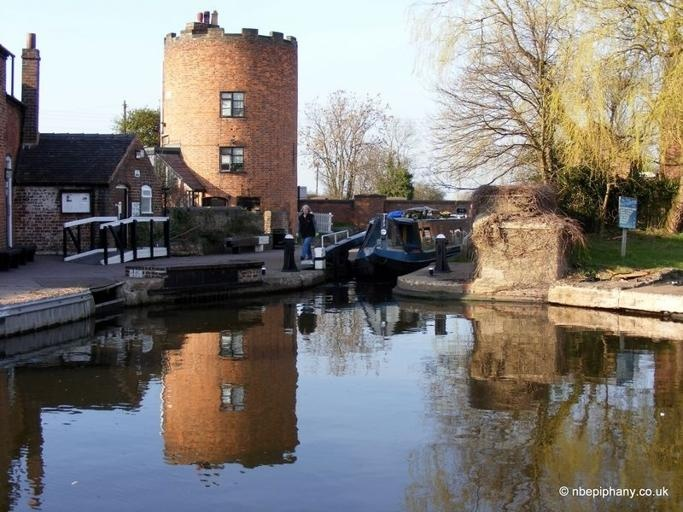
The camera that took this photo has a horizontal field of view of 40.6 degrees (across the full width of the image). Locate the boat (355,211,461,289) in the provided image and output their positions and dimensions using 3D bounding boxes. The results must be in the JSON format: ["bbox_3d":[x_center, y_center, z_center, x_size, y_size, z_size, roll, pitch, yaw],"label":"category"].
[{"bbox_3d":[2.618,-0.581,29.918,1.823,1.887,6.517,9,11,25],"label":"boat"}]
